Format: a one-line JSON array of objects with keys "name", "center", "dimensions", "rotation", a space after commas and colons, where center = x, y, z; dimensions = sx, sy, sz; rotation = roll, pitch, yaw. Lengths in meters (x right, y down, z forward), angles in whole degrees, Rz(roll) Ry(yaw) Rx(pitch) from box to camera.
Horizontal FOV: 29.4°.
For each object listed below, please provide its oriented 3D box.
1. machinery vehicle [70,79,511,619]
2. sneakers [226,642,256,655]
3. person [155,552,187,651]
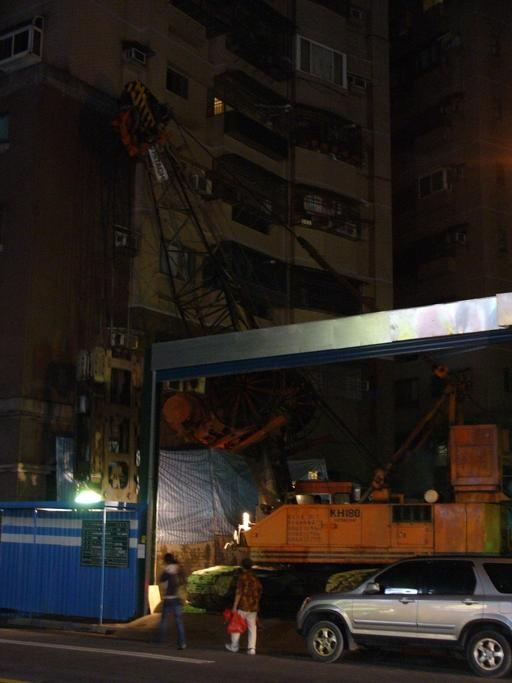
[{"name": "machinery vehicle", "center": [0.892, -0.173, 32.105], "dimensions": [20.128, 12.157, 1.487], "rotation": [-7, -31, 35]}, {"name": "sneakers", "center": [-0.262, 5.080, 16.190], "dimensions": [0.540, 0.231, 0.179], "rotation": [-6, -11, 26]}, {"name": "person", "center": [-1.419, 4.338, 16.200], "dimensions": [0.517, 1.606, 0.921], "rotation": [-5, -3, -8]}]
